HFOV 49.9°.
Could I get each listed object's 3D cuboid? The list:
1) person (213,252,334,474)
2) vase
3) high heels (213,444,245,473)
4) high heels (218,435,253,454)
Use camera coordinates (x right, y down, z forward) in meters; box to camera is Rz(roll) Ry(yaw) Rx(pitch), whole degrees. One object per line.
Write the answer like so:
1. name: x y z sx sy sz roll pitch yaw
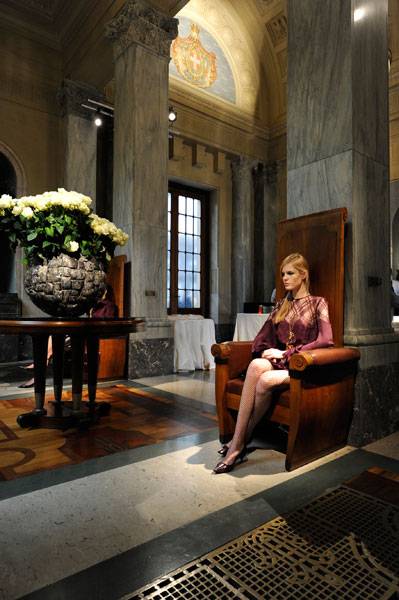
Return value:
1. person: 0.438 0.288 2.397 0.548 1.143 0.842 -1 -2 38
2. vase: -0.792 -0.084 2.487 0.348 0.301 0.388 0 -4 -3
3. high heels: 0.138 0.822 2.207 0.075 0.121 0.224 -24 -26 34
4. high heels: 0.205 0.791 2.401 0.089 0.117 0.260 -15 -18 42
